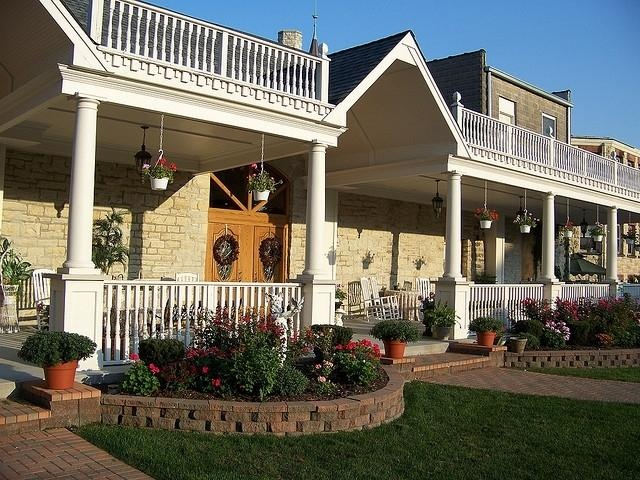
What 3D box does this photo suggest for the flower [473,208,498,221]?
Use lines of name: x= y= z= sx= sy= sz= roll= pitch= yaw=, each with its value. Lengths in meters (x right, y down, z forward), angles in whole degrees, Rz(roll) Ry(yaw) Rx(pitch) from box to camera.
flower: x=4.346 y=-0.696 z=17.175 sx=0.442 sy=0.337 sz=0.476 roll=2 pitch=1 yaw=43

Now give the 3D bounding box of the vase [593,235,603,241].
vase: x=8.531 y=-0.070 z=20.057 sx=0.172 sy=0.126 sz=0.179 roll=4 pitch=-9 yaw=-24

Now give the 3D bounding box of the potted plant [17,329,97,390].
potted plant: x=-3.484 y=1.459 z=8.559 sx=0.812 sy=0.695 sz=0.744 roll=3 pitch=-6 yaw=-9

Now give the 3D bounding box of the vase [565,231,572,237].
vase: x=7.045 y=-0.167 z=18.501 sx=0.172 sy=0.137 sz=0.180 roll=-3 pitch=-7 yaw=19

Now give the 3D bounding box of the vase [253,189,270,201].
vase: x=-1.101 y=-0.827 z=12.044 sx=0.218 sy=0.156 sz=0.233 roll=0 pitch=-7 yaw=-4

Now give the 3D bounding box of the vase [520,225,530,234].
vase: x=5.532 y=-0.306 z=17.640 sx=0.188 sy=0.216 sz=0.200 roll=9 pitch=-11 yaw=-34

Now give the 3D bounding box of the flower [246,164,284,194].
flower: x=-1.231 y=-1.361 z=14.034 sx=0.897 sy=0.684 sz=0.881 roll=1 pitch=1 yaw=-41

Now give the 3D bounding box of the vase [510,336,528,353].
vase: x=4.157 y=2.236 z=13.716 sx=0.282 sy=0.237 sz=0.292 roll=5 pitch=-8 yaw=-29

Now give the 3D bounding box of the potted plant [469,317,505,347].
potted plant: x=3.468 y=1.946 z=13.636 sx=0.556 sy=0.608 sz=0.572 roll=-8 pitch=-11 yaw=44

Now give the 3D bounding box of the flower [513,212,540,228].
flower: x=5.963 y=-0.601 z=19.014 sx=0.470 sy=0.403 sz=0.530 roll=3 pitch=-2 yaw=-11

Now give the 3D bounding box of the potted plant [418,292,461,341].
potted plant: x=2.701 y=1.709 z=14.372 sx=0.794 sy=0.988 sz=0.826 roll=2 pitch=-6 yaw=-16

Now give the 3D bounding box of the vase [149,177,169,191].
vase: x=-2.736 y=-0.963 z=11.180 sx=0.264 sy=0.183 sz=0.282 roll=0 pitch=1 yaw=13

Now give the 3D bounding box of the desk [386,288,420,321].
desk: x=2.157 y=1.915 z=17.676 sx=0.806 sy=0.821 sz=0.768 roll=-23 pitch=-25 yaw=28
